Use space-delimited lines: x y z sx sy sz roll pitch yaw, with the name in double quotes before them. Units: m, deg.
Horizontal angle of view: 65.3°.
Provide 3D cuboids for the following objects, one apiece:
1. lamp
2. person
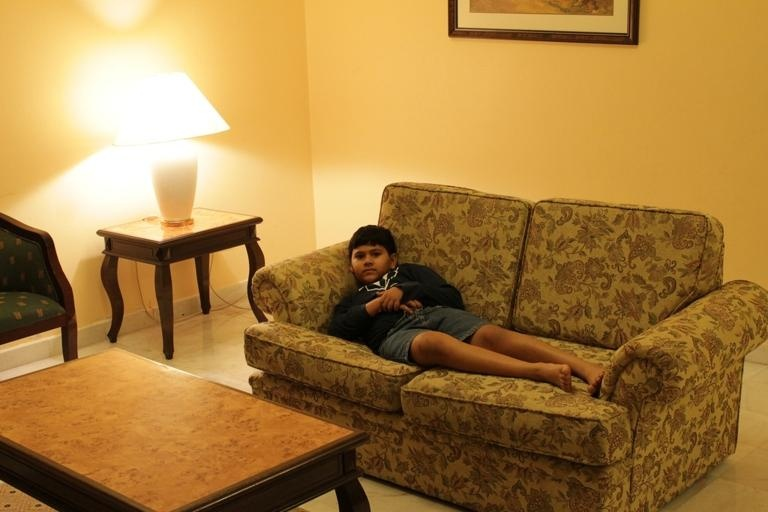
"lamp" -1.249 -0.630 3.573 0.636 0.893 0.210 -4 18 -21
"person" 0.266 0.179 2.539 0.551 0.574 1.314 -16 15 -39
